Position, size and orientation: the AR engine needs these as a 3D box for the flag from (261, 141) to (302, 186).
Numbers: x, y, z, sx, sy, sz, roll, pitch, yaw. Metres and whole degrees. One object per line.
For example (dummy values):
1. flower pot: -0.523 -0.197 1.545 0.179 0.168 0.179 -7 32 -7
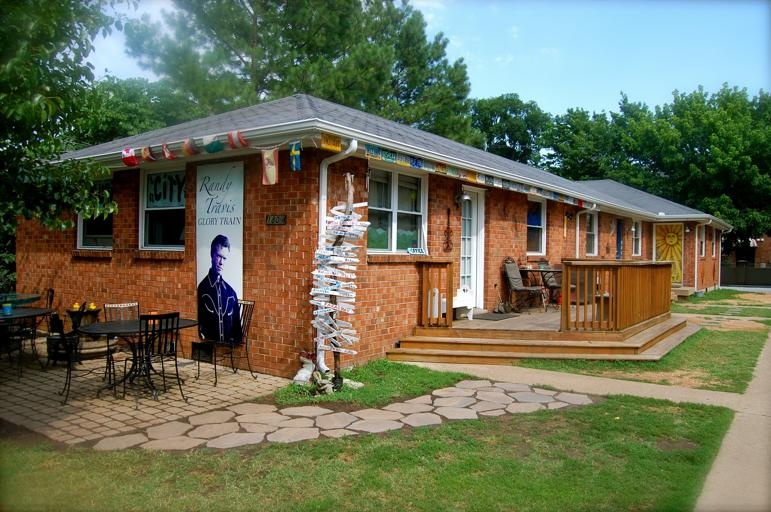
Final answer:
1. flag: -1.676 -1.501 9.250 0.665 0.469 0.075 -6 -8 37

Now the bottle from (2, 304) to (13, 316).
1. bottle: -6.502 0.941 9.796 0.194 0.208 0.191 0 -6 -11

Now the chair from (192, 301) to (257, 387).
1. chair: -2.822 1.518 10.183 0.938 1.280 0.855 -5 5 -33

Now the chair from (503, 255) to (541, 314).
1. chair: 3.367 0.674 13.874 0.979 1.154 0.911 0 7 20
